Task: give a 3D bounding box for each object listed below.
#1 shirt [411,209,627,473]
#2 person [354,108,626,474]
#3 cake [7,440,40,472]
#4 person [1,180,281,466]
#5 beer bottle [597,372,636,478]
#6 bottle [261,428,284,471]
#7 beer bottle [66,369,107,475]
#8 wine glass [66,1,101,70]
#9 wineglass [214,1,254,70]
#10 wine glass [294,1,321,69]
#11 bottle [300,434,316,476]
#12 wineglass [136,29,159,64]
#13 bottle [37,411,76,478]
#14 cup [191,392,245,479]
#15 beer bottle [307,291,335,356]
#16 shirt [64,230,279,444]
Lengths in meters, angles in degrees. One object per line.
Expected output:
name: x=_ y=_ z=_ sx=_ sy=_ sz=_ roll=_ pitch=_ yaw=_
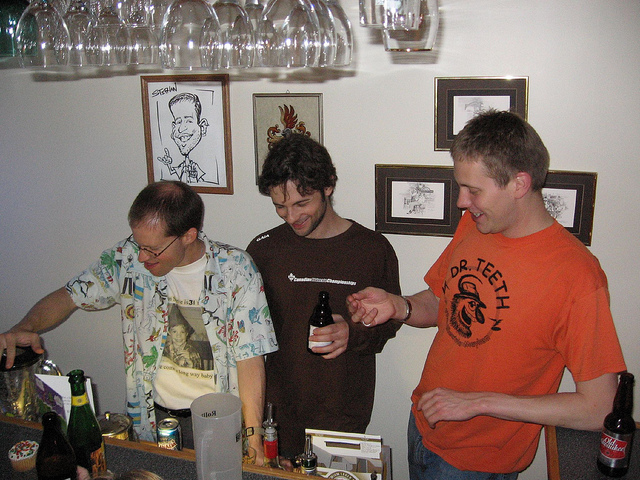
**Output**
shirt: x=0.749 y=0.436 z=2.102 sx=0.826 sy=1.050 sz=0.435 roll=3 pitch=9 yaw=32
person: x=0.658 y=0.236 z=2.192 sx=0.648 sy=1.618 sz=0.983 roll=-3 pitch=8 yaw=-15
cake: x=-0.989 y=0.696 z=1.746 sx=0.100 sy=0.059 sz=0.106 roll=9 pitch=24 yaw=-6
person: x=-0.778 y=0.332 z=2.389 sx=0.901 sy=1.333 sz=0.710 roll=15 pitch=29 yaw=12
beer bottle: x=1.069 y=0.655 z=1.880 sx=0.115 sy=0.368 sz=0.096 roll=2 pitch=8 yaw=22
bottle: x=-0.170 y=0.704 z=1.794 sx=0.073 sy=0.158 sz=0.102 roll=-2 pitch=7 yaw=-7
beer bottle: x=-0.769 y=0.626 z=1.720 sx=0.113 sy=0.445 sz=0.102 roll=0 pitch=-1 yaw=-35
wine glass: x=-0.878 y=-0.764 z=1.935 sx=0.116 sy=0.239 sz=0.126 roll=-5 pitch=8 yaw=-26
wineglass: x=-0.297 y=-0.712 z=1.834 sx=0.100 sy=0.242 sz=0.120 roll=-2 pitch=23 yaw=-9
wine glass: x=-0.044 y=-0.707 z=1.787 sx=0.038 sy=0.222 sz=0.096 roll=-8 pitch=10 yaw=-41
bottle: x=-0.044 y=0.745 z=1.819 sx=0.055 sy=0.116 sz=0.177 roll=-2 pitch=8 yaw=-3
wineglass: x=-0.676 y=-0.769 z=2.124 sx=0.118 sy=0.144 sz=0.131 roll=-5 pitch=32 yaw=-15
bottle: x=-0.829 y=0.641 z=1.633 sx=0.099 sy=0.213 sz=0.066 roll=-7 pitch=9 yaw=-36
cup: x=-0.306 y=0.593 z=1.558 sx=0.140 sy=0.281 sz=0.077 roll=-3 pitch=8 yaw=-11
beer bottle: x=0.011 y=0.366 z=2.302 sx=0.104 sy=0.272 sz=0.107 roll=1 pitch=-21 yaw=1
shirt: x=-0.629 y=0.392 z=2.318 sx=0.657 sy=1.074 sz=0.248 roll=1 pitch=9 yaw=15
